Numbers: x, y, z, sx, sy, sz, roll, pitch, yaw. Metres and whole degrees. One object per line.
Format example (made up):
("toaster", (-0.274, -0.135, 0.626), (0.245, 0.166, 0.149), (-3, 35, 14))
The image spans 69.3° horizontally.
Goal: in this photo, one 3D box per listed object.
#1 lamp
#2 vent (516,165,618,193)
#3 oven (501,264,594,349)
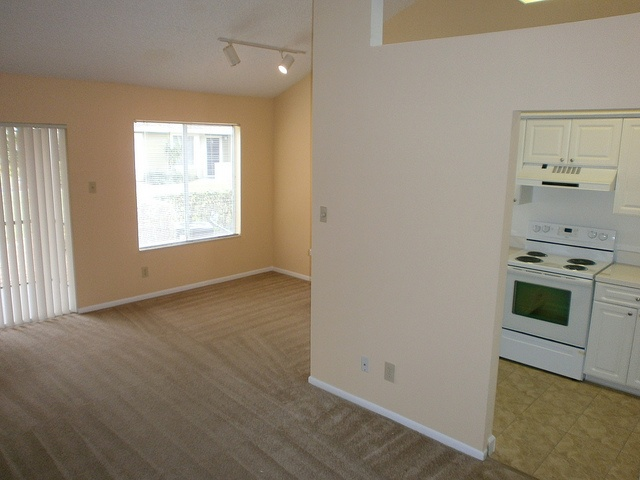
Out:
("lamp", (-0.727, -2.215, 5.657), (1.238, 0.303, 0.453), (-9, 15, -41))
("vent", (2.457, -0.639, 4.651), (0.865, 0.219, 0.263), (11, 15, 41))
("oven", (2.385, 0.676, 4.826), (0.455, 0.818, 0.880), (0, 5, -39))
